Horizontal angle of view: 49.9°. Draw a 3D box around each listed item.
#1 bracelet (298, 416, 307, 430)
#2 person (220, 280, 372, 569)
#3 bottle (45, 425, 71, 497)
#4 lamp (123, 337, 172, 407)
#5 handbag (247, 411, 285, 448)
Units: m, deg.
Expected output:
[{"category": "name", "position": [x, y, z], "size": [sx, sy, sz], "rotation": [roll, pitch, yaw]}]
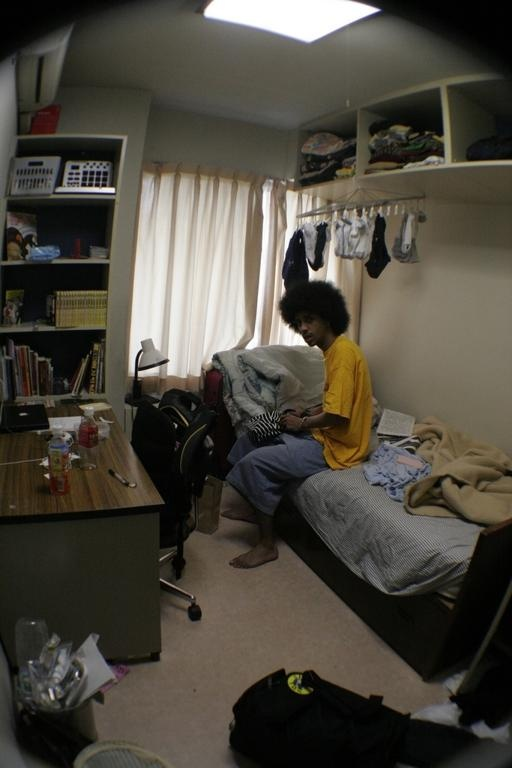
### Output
[{"category": "bracelet", "position": [0.209, 0.188, 2.529], "size": [0.018, 0.049, 0.041], "rotation": [5, -4, -7]}, {"category": "person", "position": [0.199, 0.163, 2.611], "size": [0.692, 1.228, 0.649], "rotation": [1, 5, -18]}, {"category": "bottle", "position": [-0.586, 0.227, 1.629], "size": [0.054, 0.182, 0.107], "rotation": [0, 10, -20]}, {"category": "lamp", "position": [-0.593, -0.057, 2.922], "size": [0.240, 0.358, 0.173], "rotation": [6, 19, 9]}, {"category": "handbag", "position": [0.039, 0.221, 2.607], "size": [0.119, 0.063, 0.159], "rotation": [-12, 4, 10]}]
